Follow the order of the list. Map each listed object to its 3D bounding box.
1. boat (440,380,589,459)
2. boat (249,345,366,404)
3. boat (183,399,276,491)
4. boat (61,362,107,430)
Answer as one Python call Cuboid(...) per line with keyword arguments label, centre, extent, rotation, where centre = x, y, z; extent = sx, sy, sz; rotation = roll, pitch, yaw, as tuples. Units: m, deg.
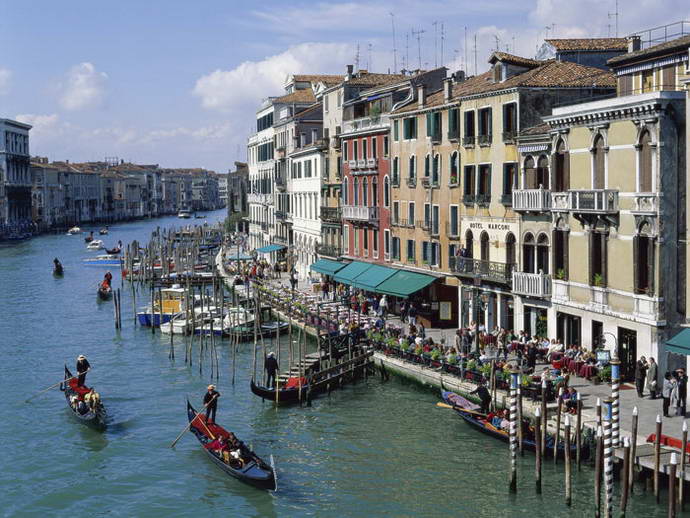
Cuboid(label="boat", centre=(9.272, 9.700, 69.423), extent=(1.616, 2.196, 9.546), rotation=(-13, 16, -42))
Cuboid(label="boat", centre=(-1.978, 7.901, 80.455), extent=(2.969, 2.080, 9.792), rotation=(7, 15, 38))
Cuboid(label="boat", centre=(-6.460, 10.484, 70.454), extent=(2.131, 3.497, 11.124), rotation=(-21, 28, -20))
Cuboid(label="boat", centre=(-16.356, 8.343, 76.668), extent=(1.937, 3.687, 6.718), rotation=(-7, 13, -21))
